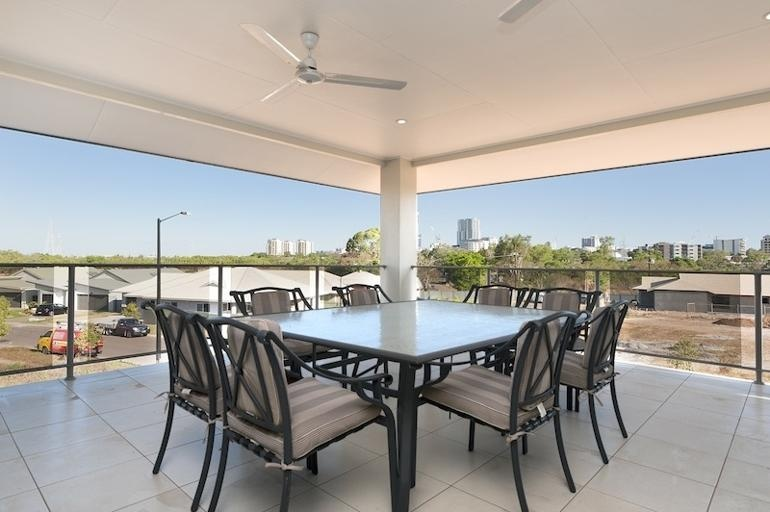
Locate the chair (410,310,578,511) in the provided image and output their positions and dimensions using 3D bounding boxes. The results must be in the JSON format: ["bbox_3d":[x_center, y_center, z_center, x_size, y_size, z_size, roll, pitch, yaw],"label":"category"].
[{"bbox_3d":[1.042,1.098,3.972,1.284,1.727,1.447,2,-2,-42],"label":"chair"}]

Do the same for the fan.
[{"bbox_3d":[-0.534,-1.869,4.310,1.809,0.528,1.379,22,24,39],"label":"fan"}]

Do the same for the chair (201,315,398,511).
[{"bbox_3d":[-0.723,0.838,3.597,1.403,1.828,1.384,3,4,45],"label":"chair"}]
